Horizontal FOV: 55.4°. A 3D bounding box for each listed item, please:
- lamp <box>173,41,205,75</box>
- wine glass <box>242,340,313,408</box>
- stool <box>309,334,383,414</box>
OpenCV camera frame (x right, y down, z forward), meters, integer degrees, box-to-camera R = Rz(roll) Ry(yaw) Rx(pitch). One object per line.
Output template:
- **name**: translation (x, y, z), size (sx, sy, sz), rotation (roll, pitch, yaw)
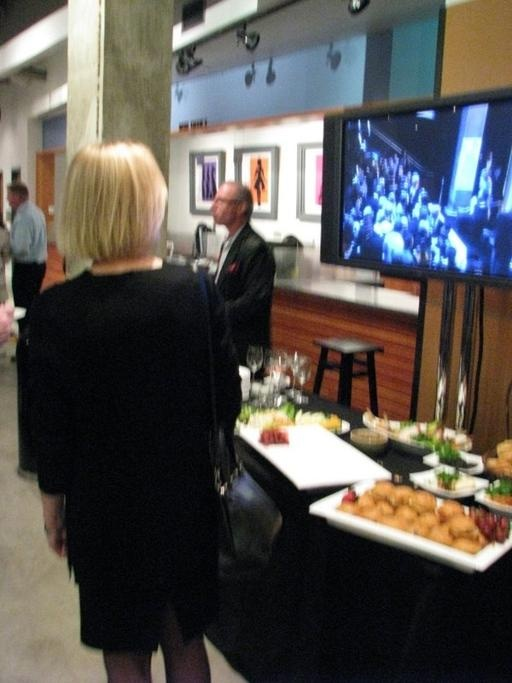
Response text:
- **lamp**: translation (-0.689, -2.799, 4.844), size (0.210, 0.193, 0.639), rotation (-4, 10, -21)
- **wine glass**: translation (0.050, 0.068, 1.538), size (0.158, 0.256, 0.162), rotation (-2, 2, -31)
- **stool**: translation (0.547, 0.177, 2.832), size (0.285, 0.619, 0.340), rotation (0, 8, -32)
